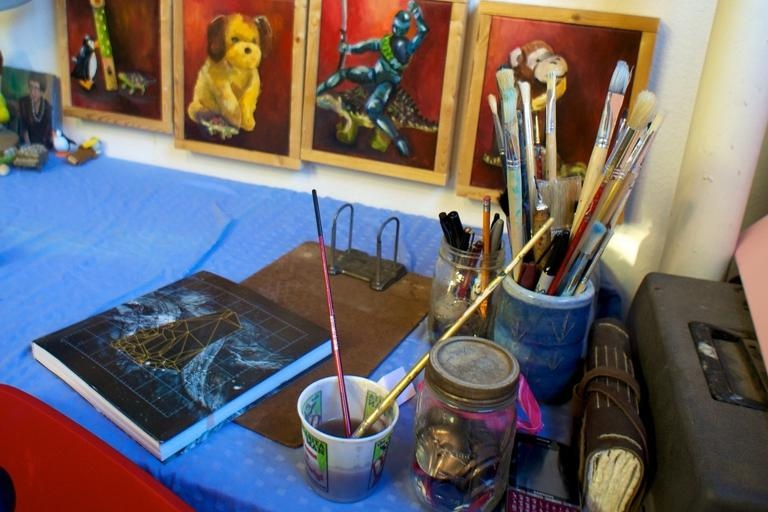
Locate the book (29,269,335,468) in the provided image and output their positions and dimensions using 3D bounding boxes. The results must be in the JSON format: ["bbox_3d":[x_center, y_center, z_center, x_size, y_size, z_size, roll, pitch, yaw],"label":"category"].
[{"bbox_3d":[-0.302,0.153,0.905,0.294,0.042,0.276,20,33,34],"label":"book"}]

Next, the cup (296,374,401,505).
[{"bbox_3d":[-0.056,0.247,0.817,0.143,0.123,0.157,3,33,-2],"label":"cup"}]

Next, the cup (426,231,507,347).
[{"bbox_3d":[0.163,0.056,1.011,0.119,0.207,0.124,-1,31,1],"label":"cup"}]

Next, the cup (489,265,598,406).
[{"bbox_3d":[0.262,0.141,0.942,0.143,0.174,0.156,-3,12,1],"label":"cup"}]
